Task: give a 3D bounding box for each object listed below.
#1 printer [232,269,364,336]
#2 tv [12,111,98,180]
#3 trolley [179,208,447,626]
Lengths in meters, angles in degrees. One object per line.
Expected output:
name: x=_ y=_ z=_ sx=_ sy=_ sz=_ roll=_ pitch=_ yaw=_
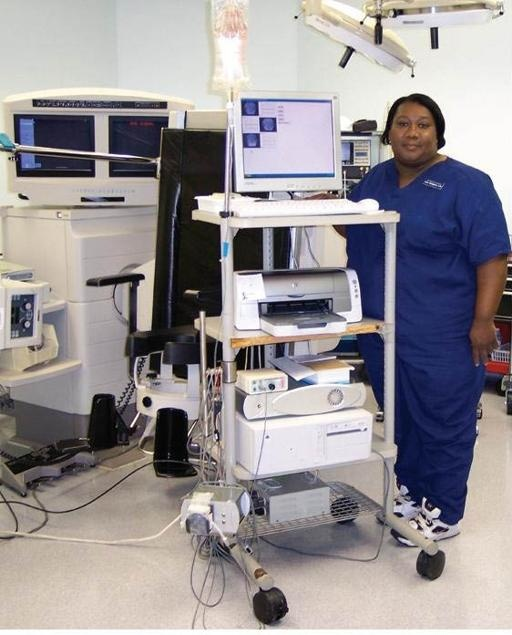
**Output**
printer: x=0.112 y=-0.072 z=1.666 sx=0.272 sy=0.119 sz=0.211 roll=-4 pitch=8 yaw=-20
tv: x=-0.922 y=-0.785 z=2.747 sx=0.406 sy=0.308 sz=0.042 roll=-2 pitch=8 yaw=-19
trolley: x=0.095 y=0.210 z=1.810 sx=0.811 sy=1.048 sz=0.694 roll=-3 pitch=7 yaw=-23
